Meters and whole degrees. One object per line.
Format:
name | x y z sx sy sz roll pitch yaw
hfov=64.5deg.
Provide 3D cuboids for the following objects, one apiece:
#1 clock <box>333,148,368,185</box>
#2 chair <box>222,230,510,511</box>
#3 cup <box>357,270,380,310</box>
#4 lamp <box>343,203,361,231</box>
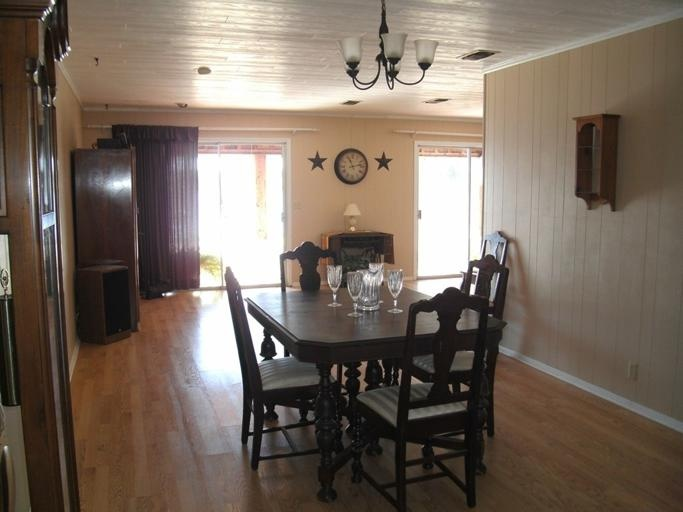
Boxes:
clock | 0.113 -1.403 8.478 0.480 0.551 0.075 -4 5 -15
chair | 0.067 0.547 3.223 1.042 0.987 1.409 -2 5 -21
cup | 0.180 0.206 3.391 0.148 0.268 0.208 -5 -4 27
lamp | 0.156 -0.599 8.396 0.348 0.581 0.360 -1 2 -5
